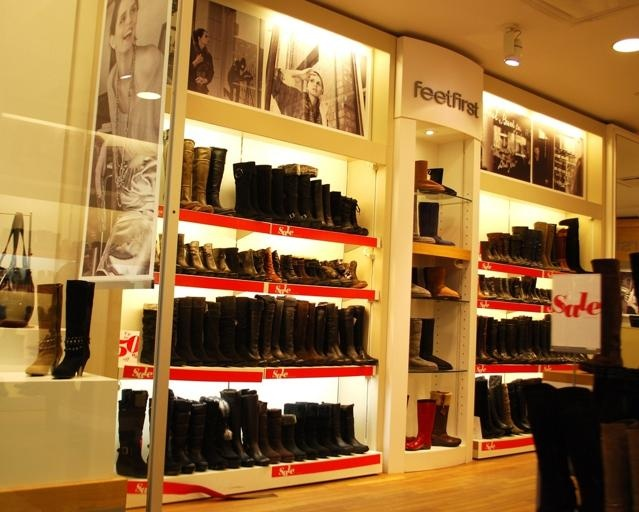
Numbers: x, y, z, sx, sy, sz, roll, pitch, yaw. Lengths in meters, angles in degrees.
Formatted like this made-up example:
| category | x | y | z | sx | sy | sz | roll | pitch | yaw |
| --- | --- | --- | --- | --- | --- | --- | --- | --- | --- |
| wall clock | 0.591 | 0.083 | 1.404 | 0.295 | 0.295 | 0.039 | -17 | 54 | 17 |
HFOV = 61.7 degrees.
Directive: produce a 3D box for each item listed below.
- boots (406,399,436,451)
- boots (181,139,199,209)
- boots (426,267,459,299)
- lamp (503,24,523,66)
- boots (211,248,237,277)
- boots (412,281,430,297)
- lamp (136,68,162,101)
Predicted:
| category | x | y | z | sx | sy | sz | roll | pitch | yaw |
| --- | --- | --- | --- | --- | --- | --- | --- | --- | --- |
| boots | 0.854 | 1.458 | 4.628 | 0.301 | 0.411 | 0.137 | 4 | -10 | -19 |
| boots | -0.921 | -0.576 | 3.767 | 0.098 | 0.505 | 0.191 | 3 | -9 | -14 |
| boots | 1.102 | 0.259 | 4.931 | 0.361 | 0.278 | 0.176 | -3 | -7 | 43 |
| lamp | 1.657 | -1.758 | 4.572 | 0.140 | 0.315 | 0.344 | -3 | -10 | 22 |
| boots | -0.694 | 0.046 | 3.962 | 0.201 | 0.208 | 0.160 | -7 | -10 | 30 |
| boots | 0.924 | 0.319 | 4.817 | 0.261 | 0.102 | 0.074 | 9 | -12 | -39 |
| lamp | -0.632 | -0.636 | 2.042 | 0.104 | 0.128 | 0.113 | 1 | -1 | -3 |
